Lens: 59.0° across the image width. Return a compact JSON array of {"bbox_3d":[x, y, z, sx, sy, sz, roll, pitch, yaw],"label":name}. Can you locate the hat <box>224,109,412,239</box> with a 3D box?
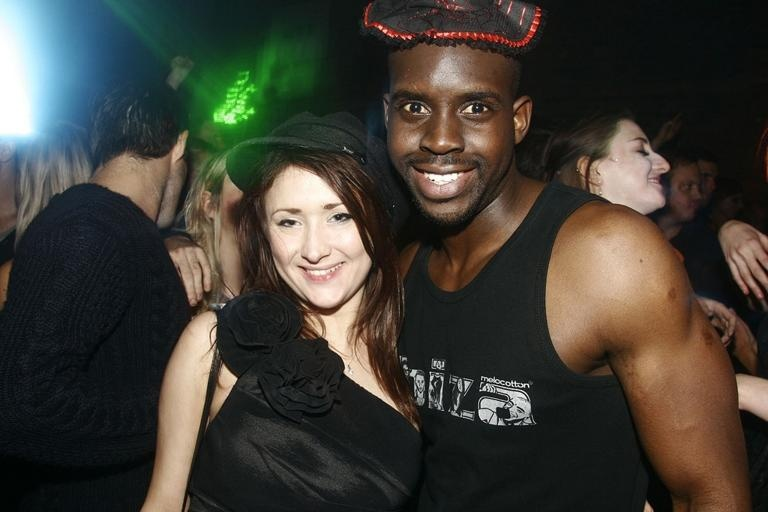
[{"bbox_3d":[-0.422,-0.505,4.430,1.181,0.837,0.410,-4,19,-3],"label":"hat"}]
